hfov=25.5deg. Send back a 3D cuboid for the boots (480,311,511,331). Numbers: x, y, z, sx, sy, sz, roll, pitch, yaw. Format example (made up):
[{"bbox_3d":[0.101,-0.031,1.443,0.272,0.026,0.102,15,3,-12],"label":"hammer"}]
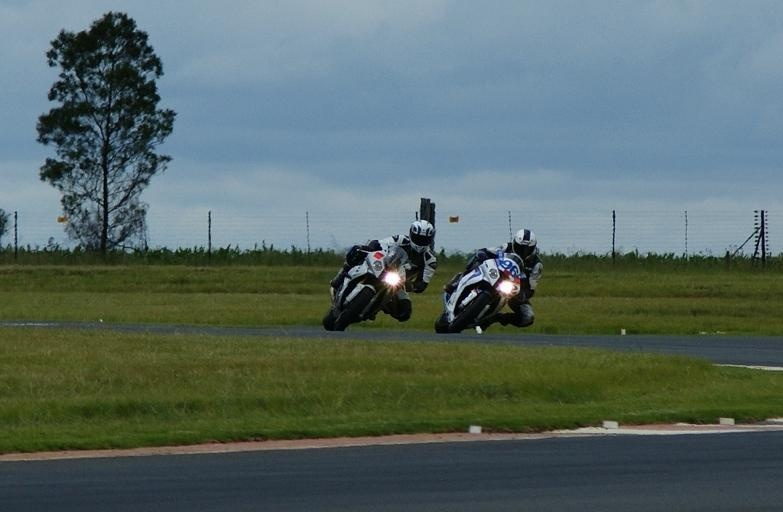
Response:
[{"bbox_3d":[2.759,1.612,46.321,0.712,0.285,0.386,-28,19,-3],"label":"boots"}]

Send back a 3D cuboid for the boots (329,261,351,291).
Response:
[{"bbox_3d":[-1.397,0.423,46.958,0.275,0.787,0.539,30,10,-37],"label":"boots"}]
